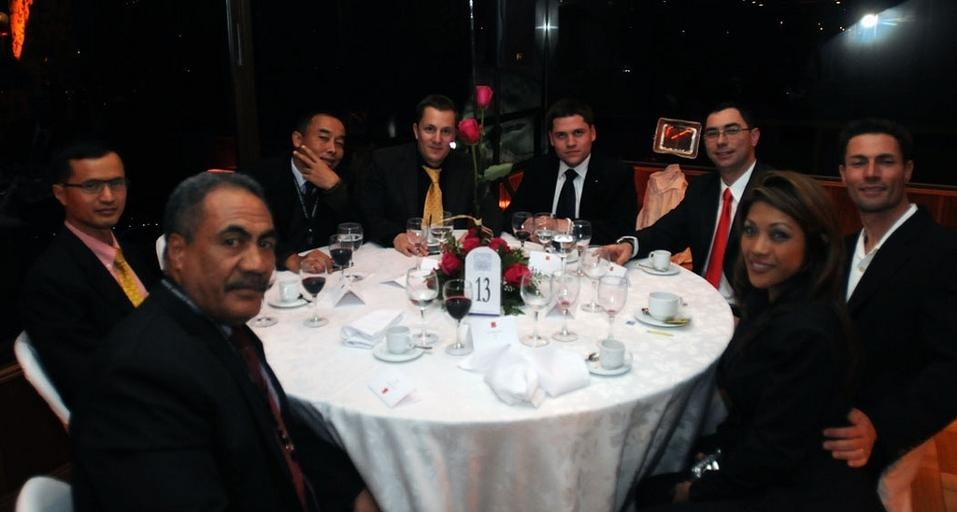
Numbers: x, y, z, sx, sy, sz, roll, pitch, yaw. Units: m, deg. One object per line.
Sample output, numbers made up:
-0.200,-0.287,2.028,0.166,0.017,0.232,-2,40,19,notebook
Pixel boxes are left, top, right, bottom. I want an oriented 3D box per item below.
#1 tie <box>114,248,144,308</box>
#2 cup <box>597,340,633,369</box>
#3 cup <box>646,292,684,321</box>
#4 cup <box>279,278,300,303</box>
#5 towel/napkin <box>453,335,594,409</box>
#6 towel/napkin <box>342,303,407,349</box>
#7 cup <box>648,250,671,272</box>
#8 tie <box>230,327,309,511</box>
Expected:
-2.131,0.140,3.638,0.074,0.351,0.097,-13,-19,-33,tie
0.707,0.514,3.127,0.178,0.111,0.109,0,0,2,cup
1.070,0.298,3.437,0.147,0.118,0.183,-1,-3,6,cup
-1.130,0.211,3.633,0.142,0.102,0.104,-2,9,-7,cup
0.285,0.570,2.994,0.377,0.110,0.371,-16,30,-38,towel/napkin
-0.574,0.380,3.302,0.195,0.071,0.247,2,10,26,towel/napkin
1.236,0.029,4.083,0.110,0.107,0.158,-2,2,1,cup
-0.973,0.786,2.782,0.160,0.904,0.134,-21,-9,-33,tie
